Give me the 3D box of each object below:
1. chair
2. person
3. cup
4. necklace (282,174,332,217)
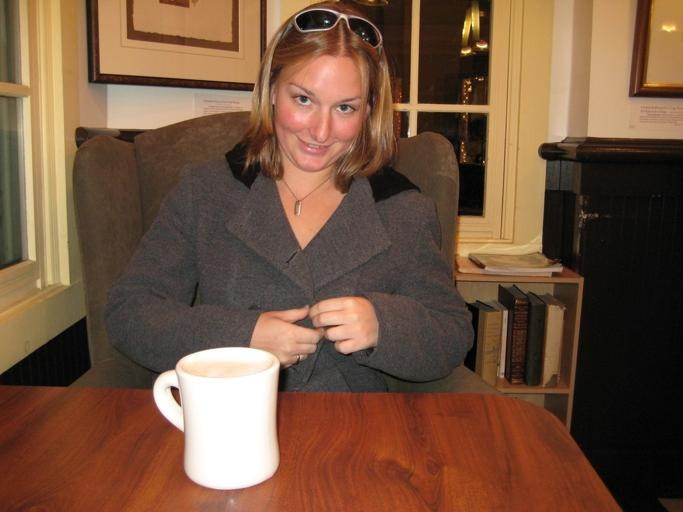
[{"bbox_3d":[-0.186,0.008,1.733,0.761,1.000,0.874,3,-12,-7],"label":"chair"},{"bbox_3d":[-0.102,-0.163,1.232,0.833,0.853,0.578,-3,14,-20],"label":"person"},{"bbox_3d":[-0.148,0.228,0.800,0.187,0.170,0.146,0,7,5],"label":"cup"},{"bbox_3d":[-0.092,-0.153,1.410,0.110,0.133,0.011,4,-4,7],"label":"necklace"}]
